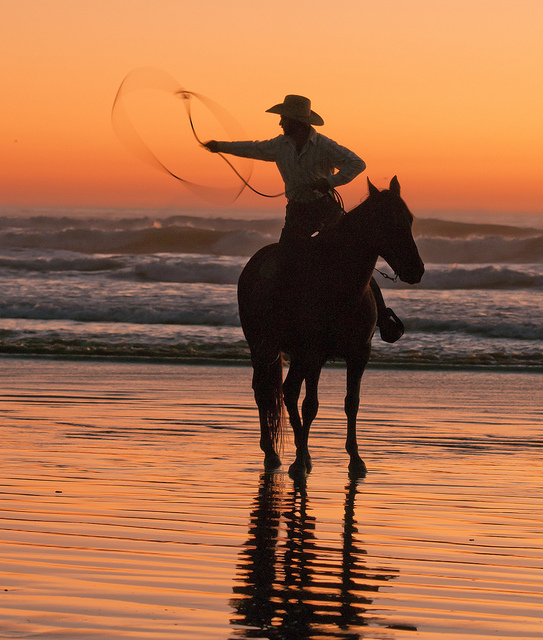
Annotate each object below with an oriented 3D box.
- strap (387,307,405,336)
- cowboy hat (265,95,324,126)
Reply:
[{"bbox_3d":[1.063,0.001,9.220,0.085,0.233,0.206,-28,23,-33],"label":"strap"},{"bbox_3d":[0.175,-1.541,8.186,0.344,0.209,0.254,5,9,30],"label":"cowboy hat"}]
